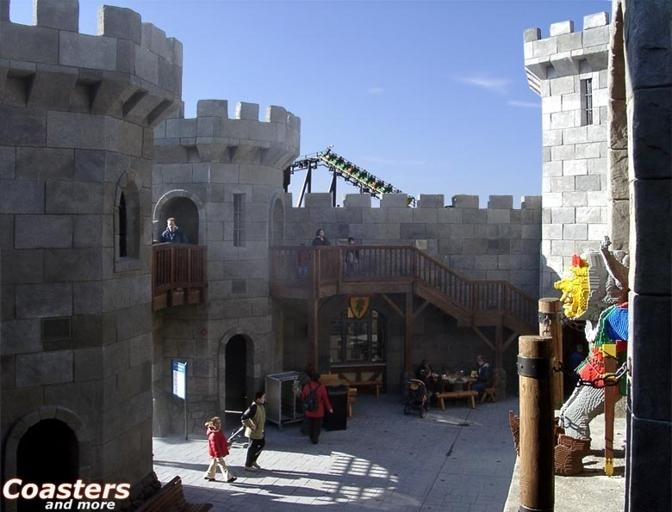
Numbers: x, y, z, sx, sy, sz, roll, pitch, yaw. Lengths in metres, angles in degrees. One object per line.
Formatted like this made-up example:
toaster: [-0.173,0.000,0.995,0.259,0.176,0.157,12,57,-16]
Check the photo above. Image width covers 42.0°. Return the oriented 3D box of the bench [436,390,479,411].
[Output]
bench: [3.154,3.748,22.761,1.096,0.447,1.077,0,6,6]

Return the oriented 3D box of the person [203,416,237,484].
person: [-2.414,3.831,17.939,0.613,1.343,1.526,-2,6,-9]

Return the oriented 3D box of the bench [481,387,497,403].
bench: [4.042,3.735,23.211,0.366,0.411,0.391,-1,-2,3]

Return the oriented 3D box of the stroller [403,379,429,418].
stroller: [2.074,3.591,22.091,0.514,0.959,0.900,1,3,18]

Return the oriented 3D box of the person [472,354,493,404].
person: [3.885,3.313,23.201,0.526,1.117,1.193,0,6,11]

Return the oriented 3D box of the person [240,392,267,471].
person: [-1.702,3.630,18.040,0.419,1.606,0.650,-1,5,-1]

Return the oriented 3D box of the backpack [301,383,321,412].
backpack: [-0.555,3.247,19.723,0.484,0.791,0.420,-6,-20,17]
